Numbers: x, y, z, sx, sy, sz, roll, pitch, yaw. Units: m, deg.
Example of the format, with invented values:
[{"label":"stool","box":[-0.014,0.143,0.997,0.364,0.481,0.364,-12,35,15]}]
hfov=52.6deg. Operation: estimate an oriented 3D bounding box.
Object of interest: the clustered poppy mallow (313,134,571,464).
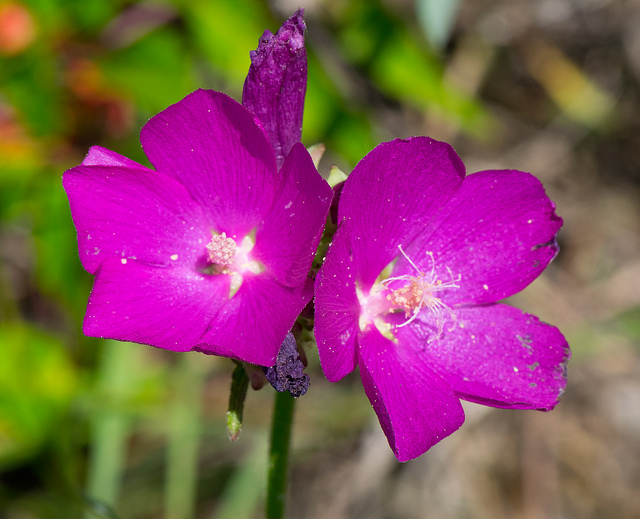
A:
[{"label":"clustered poppy mallow","box":[0.410,0.086,2.598,0.880,1.170,1.275,-2,25,-7]}]

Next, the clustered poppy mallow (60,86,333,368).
[{"label":"clustered poppy mallow","box":[-0.423,-0.119,2.249,0.930,0.869,0.341,8,-10,6]}]

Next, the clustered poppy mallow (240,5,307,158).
[{"label":"clustered poppy mallow","box":[-0.165,-0.639,2.470,0.273,0.509,0.275,-24,42,-29]}]
